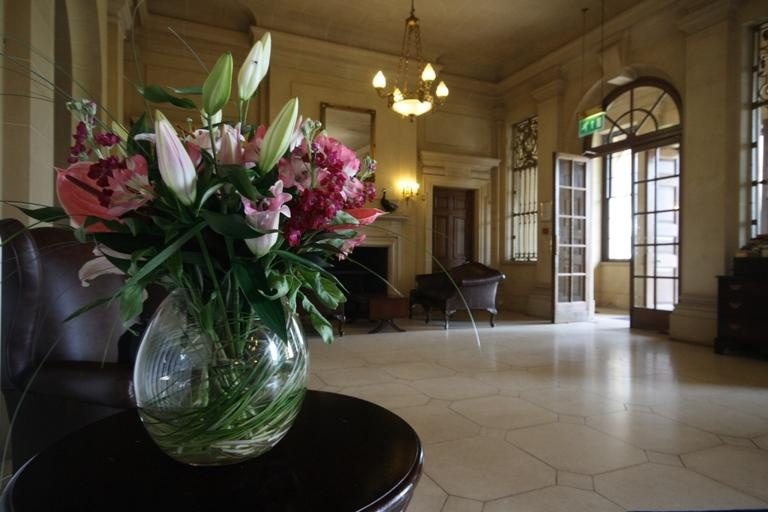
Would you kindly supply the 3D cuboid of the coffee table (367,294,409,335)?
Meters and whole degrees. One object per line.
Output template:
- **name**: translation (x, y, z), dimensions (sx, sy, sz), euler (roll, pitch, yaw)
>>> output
- **coffee table**: translation (0.047, 0.720, 7.234), dimensions (0.402, 0.414, 0.638), euler (1, -3, -5)

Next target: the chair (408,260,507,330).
- **chair**: translation (1.023, 0.855, 8.031), dimensions (0.846, 0.917, 1.456), euler (4, -3, -22)

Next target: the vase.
- **vase**: translation (-0.739, 0.490, 2.547), dimensions (0.762, 0.735, 0.798), euler (11, 13, 1)
